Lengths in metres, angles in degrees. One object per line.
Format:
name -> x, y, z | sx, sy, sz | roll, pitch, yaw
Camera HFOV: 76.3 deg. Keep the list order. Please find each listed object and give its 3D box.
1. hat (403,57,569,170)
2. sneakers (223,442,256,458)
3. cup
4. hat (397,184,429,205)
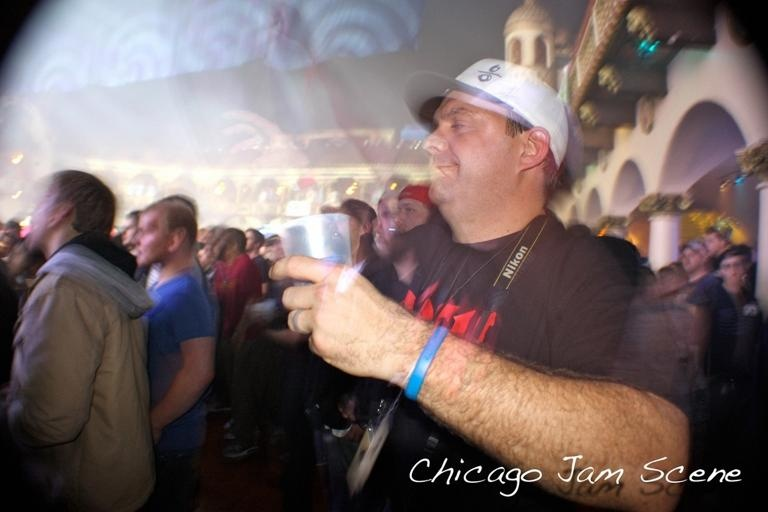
hat -> 0.623, -0.920, 2.902 | 0.890, 0.396, 0.645 | 30, -5, -4
sneakers -> -1.235, 1.654, 4.194 | 0.266, 0.108, 0.119 | 10, -4, -23
cup -> -0.344, -0.073, 2.462 | 0.270, 0.283, 0.305 | 1, 2, 8
hat -> 0.217, -0.452, 3.580 | 0.176, 0.095, 0.175 | 20, 5, 19
